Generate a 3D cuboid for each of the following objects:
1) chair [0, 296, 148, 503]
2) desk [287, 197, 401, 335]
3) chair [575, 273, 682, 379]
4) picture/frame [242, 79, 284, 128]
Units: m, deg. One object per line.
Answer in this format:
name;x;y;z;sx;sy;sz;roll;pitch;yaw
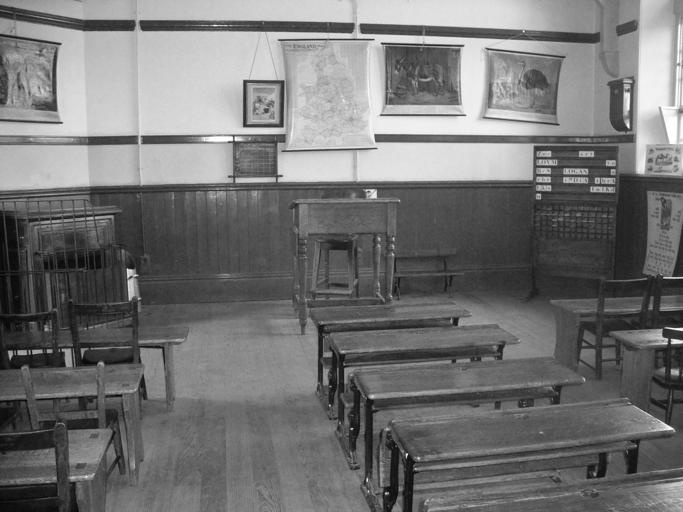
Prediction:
chair;-1.776;0.968;3.946;0.972;1.005;0.627;2;18;-4
desk;0.022;0.070;6.980;1.210;1.501;1.024;-1;4;-5
chair;2.581;0.659;5.309;0.777;0.763;0.532;-2;11;-5
picture/frame;-1.147;-2.198;8.370;0.609;0.765;0.051;0;6;-13
